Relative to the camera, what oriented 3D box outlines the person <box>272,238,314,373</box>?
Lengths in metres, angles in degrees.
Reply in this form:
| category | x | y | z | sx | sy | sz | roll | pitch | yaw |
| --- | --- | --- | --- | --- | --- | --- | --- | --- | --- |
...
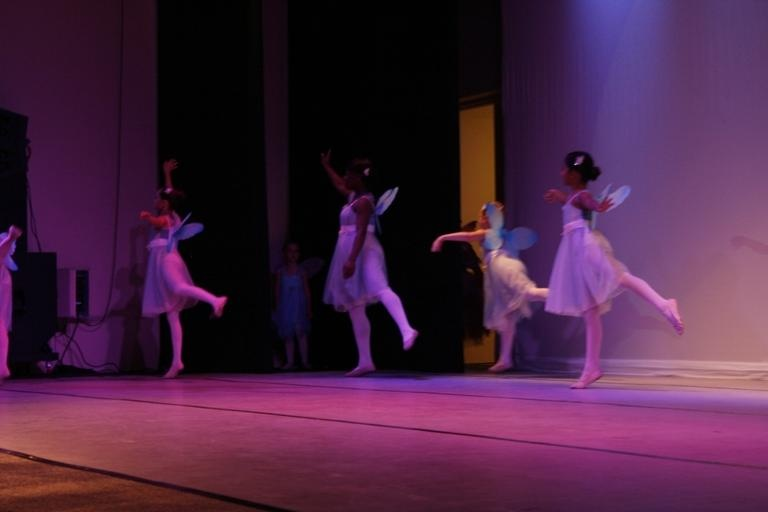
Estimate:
| category | x | y | z | sx | sy | sz | roll | pitch | yaw |
| --- | --- | --- | --- | --- | --- | --- | --- | --- | --- |
| person | -0.820 | 0.436 | 5.530 | 0.313 | 1.111 | 0.406 | -1 | 5 | -23 |

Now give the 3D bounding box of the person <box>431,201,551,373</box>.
| category | x | y | z | sx | sy | sz | roll | pitch | yaw |
| --- | --- | --- | --- | --- | --- | --- | --- | --- | --- |
| person | 0.973 | 0.255 | 5.113 | 0.724 | 1.423 | 1.155 | 3 | 4 | 22 |

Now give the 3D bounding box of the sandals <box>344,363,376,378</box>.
| category | x | y | z | sx | sy | sz | roll | pitch | yaw |
| --- | --- | --- | --- | --- | --- | --- | --- | --- | --- |
| sandals | -0.170 | 0.881 | 4.648 | 0.264 | 0.119 | 0.087 | -1 | -2 | 16 |

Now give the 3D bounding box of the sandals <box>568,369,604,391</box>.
| category | x | y | z | sx | sy | sz | roll | pitch | yaw |
| --- | --- | --- | --- | --- | --- | --- | --- | --- | --- |
| sandals | 1.246 | 0.770 | 3.744 | 0.236 | 0.114 | 0.110 | -2 | 5 | -39 |

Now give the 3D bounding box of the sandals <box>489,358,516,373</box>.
| category | x | y | z | sx | sy | sz | roll | pitch | yaw |
| --- | --- | --- | --- | --- | --- | --- | --- | --- | --- |
| sandals | 0.994 | 0.931 | 5.115 | 0.242 | 0.107 | 0.086 | -1 | -5 | -18 |

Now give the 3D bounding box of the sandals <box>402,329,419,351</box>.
| category | x | y | z | sx | sy | sz | roll | pitch | yaw |
| --- | --- | --- | --- | --- | --- | --- | --- | --- | --- |
| sandals | 0.180 | 0.602 | 4.369 | 0.102 | 0.185 | 0.218 | 1 | 4 | 2 |

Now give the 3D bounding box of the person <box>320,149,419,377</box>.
| category | x | y | z | sx | sy | sz | roll | pitch | yaw |
| --- | --- | --- | --- | --- | --- | --- | --- | --- | --- |
| person | -0.127 | 0.079 | 4.651 | 0.736 | 1.654 | 0.512 | 2 | 5 | 15 |

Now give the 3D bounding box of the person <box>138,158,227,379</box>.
| category | x | y | z | sx | sy | sz | roll | pitch | yaw |
| --- | --- | --- | --- | --- | --- | --- | --- | --- | --- |
| person | -1.670 | 0.085 | 4.971 | 0.577 | 1.800 | 0.892 | -1 | 5 | -27 |

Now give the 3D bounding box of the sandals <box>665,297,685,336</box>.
| category | x | y | z | sx | sy | sz | roll | pitch | yaw |
| --- | --- | --- | --- | --- | --- | --- | --- | --- | --- |
| sandals | 1.824 | 0.392 | 3.808 | 0.101 | 0.264 | 0.456 | 3 | 4 | 27 |

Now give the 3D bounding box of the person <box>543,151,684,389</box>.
| category | x | y | z | sx | sy | sz | roll | pitch | yaw |
| --- | --- | --- | --- | --- | --- | --- | --- | --- | --- |
| person | 1.454 | 0.049 | 4.085 | 0.739 | 1.527 | 0.993 | 2 | 4 | 15 |
